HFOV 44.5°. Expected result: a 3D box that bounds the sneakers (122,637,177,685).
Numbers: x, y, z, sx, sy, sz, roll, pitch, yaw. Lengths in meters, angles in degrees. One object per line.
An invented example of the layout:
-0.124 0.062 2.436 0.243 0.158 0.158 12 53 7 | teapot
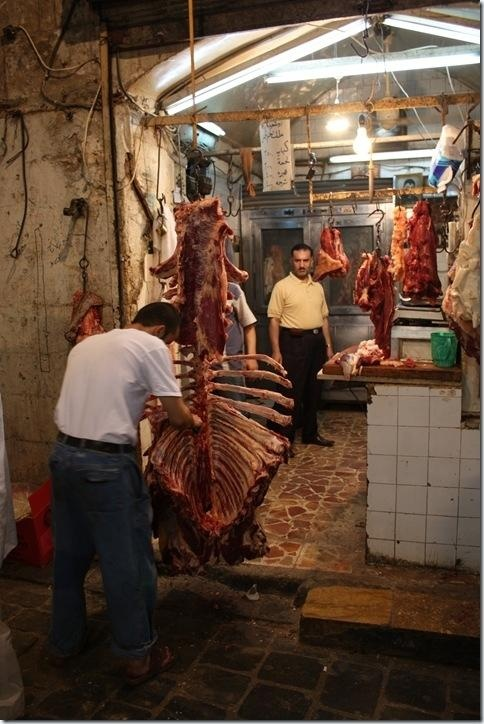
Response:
-0.414 1.340 2.646 0.109 0.101 0.242 4 7 25 | sneakers

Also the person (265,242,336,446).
0.614 -0.153 6.200 0.614 2.131 0.882 1 7 25 | person

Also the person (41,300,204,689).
-0.567 0.628 2.585 0.691 1.524 0.331 -2 6 -1 | person

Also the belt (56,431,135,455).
-0.641 0.355 2.518 0.338 0.105 0.206 -2 6 -6 | belt

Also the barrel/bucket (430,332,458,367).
1.198 -0.080 3.467 0.194 0.206 0.184 -1 7 0 | barrel/bucket

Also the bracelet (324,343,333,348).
0.969 -0.190 6.562 0.089 0.054 0.084 -1 -10 40 | bracelet
